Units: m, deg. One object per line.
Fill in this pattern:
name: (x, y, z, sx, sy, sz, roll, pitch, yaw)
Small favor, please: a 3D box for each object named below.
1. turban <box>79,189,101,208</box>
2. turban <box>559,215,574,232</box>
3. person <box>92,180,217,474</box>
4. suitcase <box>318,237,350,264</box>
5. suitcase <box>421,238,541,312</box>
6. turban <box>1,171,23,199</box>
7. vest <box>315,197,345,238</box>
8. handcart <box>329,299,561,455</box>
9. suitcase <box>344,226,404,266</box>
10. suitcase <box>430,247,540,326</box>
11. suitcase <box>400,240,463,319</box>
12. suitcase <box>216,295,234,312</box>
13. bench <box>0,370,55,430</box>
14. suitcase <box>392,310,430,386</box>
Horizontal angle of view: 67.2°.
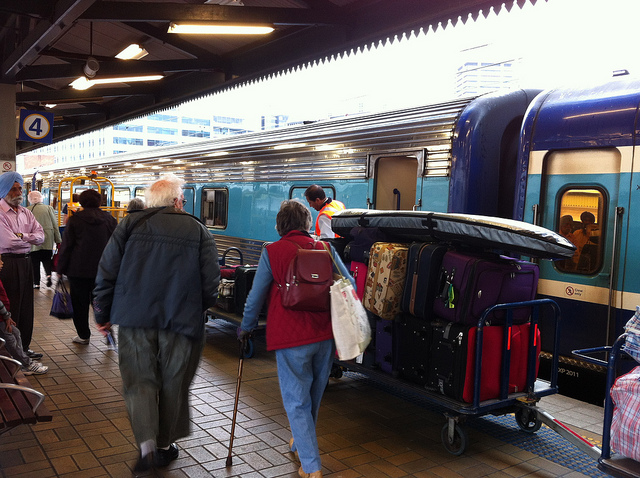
turban: (-3.498, -0.608, 7.353, 0.233, 0.300, 0.302, 0, 5, -18)
turban: (2.825, -0.196, 5.534, 0.105, 0.135, 0.141, 0, -22, -16)
person: (-1.353, 0.630, 4.047, 0.819, 2.211, 0.781, 6, 7, 39)
suitcase: (0.211, 0.135, 5.980, 0.344, 0.282, 0.502, 5, -2, 31)
suitcase: (1.534, 0.366, 4.648, 1.053, 0.662, 0.526, 0, 6, -12)
turban: (-3.850, -0.689, 6.092, 0.334, 0.350, 0.260, 0, -1, -24)
vest: (0.242, -0.304, 6.833, 0.550, 0.598, 0.453, -4, 6, -43)
handcart: (1.287, 1.278, 5.530, 1.297, 1.344, 2.397, 1, 0, -29)
suitcase: (0.605, 0.014, 5.514, 0.470, 0.358, 0.468, -9, 9, -29)
suitcase: (1.689, 0.474, 4.741, 0.936, 0.717, 0.499, 5, 6, -26)
suitcase: (1.263, 0.431, 4.952, 0.789, 0.824, 0.294, 6, 6, -35)
suitcase: (-1.483, 1.001, 7.574, 0.140, 0.237, 0.309, 0, 6, -45)
bench: (-2.544, 1.408, 4.179, 0.180, 0.163, 0.790, -14, 17, -24)
suitcase: (0.931, 1.104, 4.889, 0.121, 0.695, 0.501, -2, 7, -31)
